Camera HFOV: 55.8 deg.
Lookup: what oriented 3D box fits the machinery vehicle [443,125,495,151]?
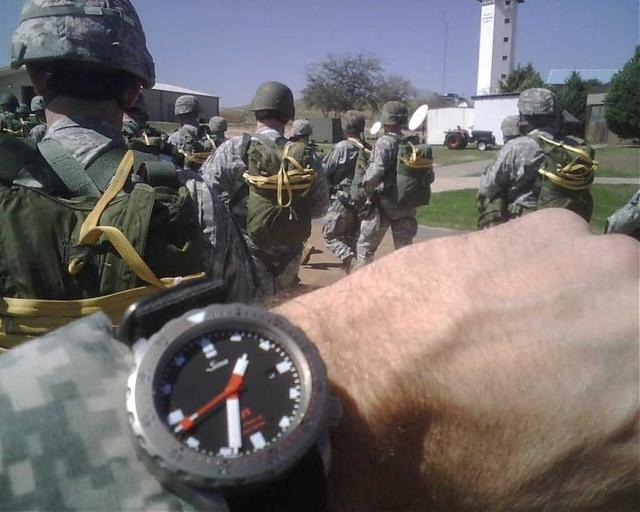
[{"bbox_3d":[6.347,-4.790,25.815,1.817,1.193,1.212,-2,20,5],"label":"machinery vehicle"}]
